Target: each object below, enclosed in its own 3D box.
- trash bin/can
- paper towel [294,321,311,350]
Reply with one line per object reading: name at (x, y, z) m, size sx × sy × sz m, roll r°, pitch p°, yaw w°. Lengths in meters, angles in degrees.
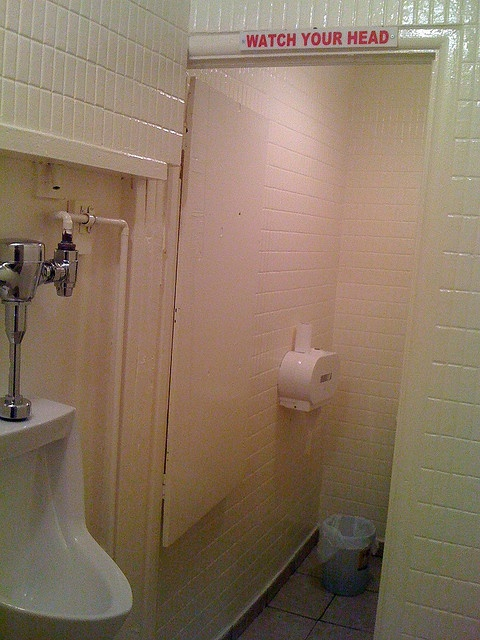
trash bin/can at (0.548, 1.155, 2.574) m, size 0.247 × 0.368 × 0.333 m, roll 1°, pitch 15°, yaw 9°
paper towel at (0.283, 0.085, 2.302) m, size 0.080 × 0.131 × 0.036 m, roll 6°, pitch 13°, yaw 18°
